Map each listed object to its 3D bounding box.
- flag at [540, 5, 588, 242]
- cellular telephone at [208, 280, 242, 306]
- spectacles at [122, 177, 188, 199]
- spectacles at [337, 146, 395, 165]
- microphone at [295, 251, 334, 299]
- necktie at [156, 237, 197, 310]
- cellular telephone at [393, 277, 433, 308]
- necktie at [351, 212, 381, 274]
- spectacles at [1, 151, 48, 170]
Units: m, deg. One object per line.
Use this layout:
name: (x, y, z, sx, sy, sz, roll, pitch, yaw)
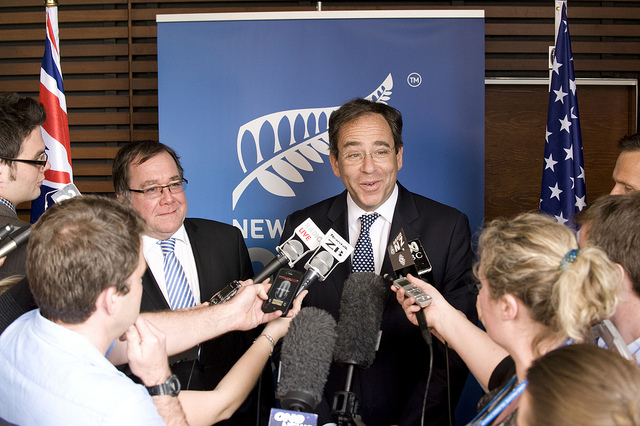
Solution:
flag: (1.863, -0.763, 3.711, 0.312, 1.704, 0.283, 0, 2, 24)
cellular telephone: (-0.463, 0.397, 2.381, 0.167, 0.089, 0.040, -40, -24, -2)
spectacles: (-0.988, -0.135, 2.861, 0.337, 0.105, 0.112, -1, 1, -15)
spectacles: (0.276, -0.331, 2.830, 0.287, 0.096, 0.056, 0, 1, 4)
microphone: (0.006, 0.260, 2.289, 0.095, 0.287, 0.082, 36, -17, 17)
necktie: (-0.847, 0.388, 2.832, 0.160, 0.576, 0.040, -16, -12, -13)
cellular telephone: (0.409, 0.348, 2.157, 0.095, 0.042, 0.176, -20, 48, -33)
necktie: (0.256, 0.198, 2.820, 0.103, 0.071, 0.549, 10, 38, 3)
spectacles: (-1.759, -0.314, 2.913, 0.072, 0.092, 0.258, 0, 1, 33)
